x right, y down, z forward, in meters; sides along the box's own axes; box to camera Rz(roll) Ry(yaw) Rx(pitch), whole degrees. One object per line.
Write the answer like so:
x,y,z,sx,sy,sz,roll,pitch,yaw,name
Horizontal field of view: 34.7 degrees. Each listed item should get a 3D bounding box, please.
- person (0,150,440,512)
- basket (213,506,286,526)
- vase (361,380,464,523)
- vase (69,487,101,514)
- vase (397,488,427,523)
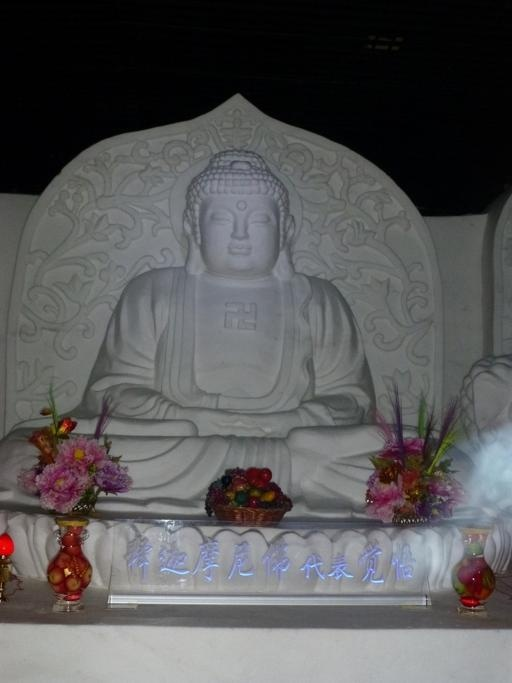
-0.241,-0.029,3.879,1.843,1.495,0.996,2,-5,-4,person
-0.019,0.619,2.857,0.239,0.066,0.112,1,-6,-2,basket
0.551,0.409,2.848,0.340,0.504,0.384,0,-1,31,vase
-0.557,0.541,2.722,0.079,0.088,0.098,2,-6,6,vase
0.517,0.568,2.740,0.103,0.121,0.155,0,-6,10,vase
